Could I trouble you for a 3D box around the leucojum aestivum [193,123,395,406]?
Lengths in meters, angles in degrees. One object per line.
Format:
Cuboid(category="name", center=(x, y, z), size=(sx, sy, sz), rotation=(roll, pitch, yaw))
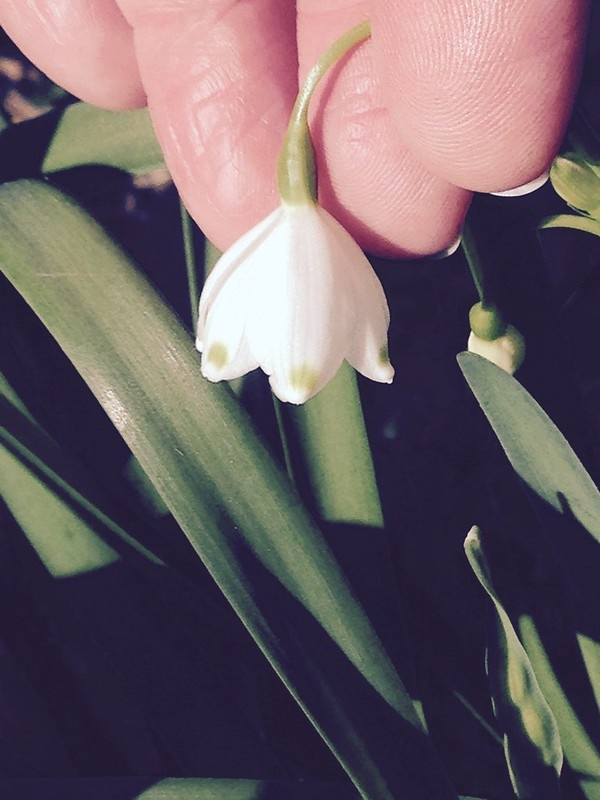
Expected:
Cuboid(category="leucojum aestivum", center=(-0.008, -0.052, 0.479), size=(0.112, 0.100, 0.082), rotation=(-20, 46, -9))
